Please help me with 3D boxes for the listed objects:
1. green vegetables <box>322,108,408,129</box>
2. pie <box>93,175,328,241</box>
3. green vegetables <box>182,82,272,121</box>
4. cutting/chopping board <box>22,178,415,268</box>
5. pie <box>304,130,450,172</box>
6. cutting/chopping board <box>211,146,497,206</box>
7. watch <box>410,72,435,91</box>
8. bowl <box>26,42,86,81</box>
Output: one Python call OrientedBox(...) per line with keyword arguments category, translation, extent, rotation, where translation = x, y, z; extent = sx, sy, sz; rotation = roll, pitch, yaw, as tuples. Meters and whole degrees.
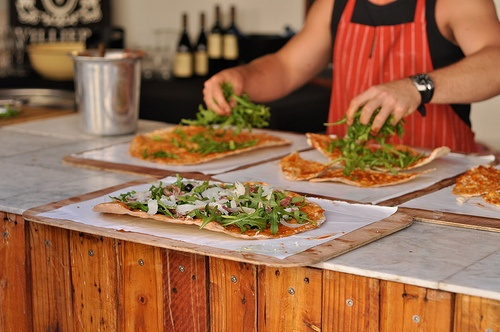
OrientedBox(category="green vegetables", translation=(0.365, -0.160, 1.784), extent=(0.180, 0.101, 0.053), rotation=(-7, 36, 1))
OrientedBox(category="pie", translation=(-0.131, 0.069, 1.448), extent=(0.559, 0.140, 0.394), rotation=(-10, 13, -31))
OrientedBox(category="green vegetables", translation=(-0.060, -0.230, 2.101), extent=(0.279, 0.152, 0.290), rotation=(11, 17, 37))
OrientedBox(category="cutting/chopping board", translation=(-0.088, 0.147, 1.414), extent=(1.021, 0.037, 0.387), rotation=(4, 18, 7))
OrientedBox(category="pie", translation=(0.431, -0.068, 1.918), extent=(0.531, 0.131, 0.327), rotation=(-8, 13, 3))
OrientedBox(category="cutting/chopping board", translation=(0.349, 0.037, 1.743), extent=(0.548, 0.056, 0.762), rotation=(-3, 10, -9))
OrientedBox(category="watch", translation=(0.585, -0.278, 1.814), extent=(0.064, 0.046, 0.111), rotation=(17, 24, 40))
OrientedBox(category="bowl", translation=(-0.871, -0.452, 2.415), extent=(0.200, 0.118, 0.195), rotation=(0, 8, 0))
